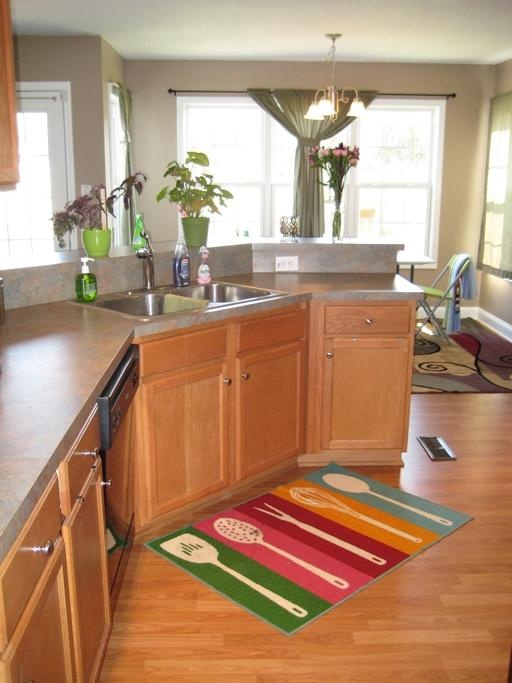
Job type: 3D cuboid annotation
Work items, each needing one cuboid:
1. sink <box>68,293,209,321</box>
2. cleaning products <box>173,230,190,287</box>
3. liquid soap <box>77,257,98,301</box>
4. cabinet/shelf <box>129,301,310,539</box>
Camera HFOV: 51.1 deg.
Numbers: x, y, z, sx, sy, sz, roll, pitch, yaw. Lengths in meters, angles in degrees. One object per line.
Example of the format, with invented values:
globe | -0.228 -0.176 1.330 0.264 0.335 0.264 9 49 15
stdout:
sink | -0.504 -0.168 2.368 0.251 0.115 0.316 12 17 37
cleaning products | -0.371 -0.395 2.679 0.080 0.242 0.132 -1 12 -9
liquid soap | -0.717 -0.259 2.264 0.081 0.189 0.103 -4 13 -21
cabinet/shelf | -0.172 0.329 2.248 0.822 0.720 0.337 -14 19 -42
